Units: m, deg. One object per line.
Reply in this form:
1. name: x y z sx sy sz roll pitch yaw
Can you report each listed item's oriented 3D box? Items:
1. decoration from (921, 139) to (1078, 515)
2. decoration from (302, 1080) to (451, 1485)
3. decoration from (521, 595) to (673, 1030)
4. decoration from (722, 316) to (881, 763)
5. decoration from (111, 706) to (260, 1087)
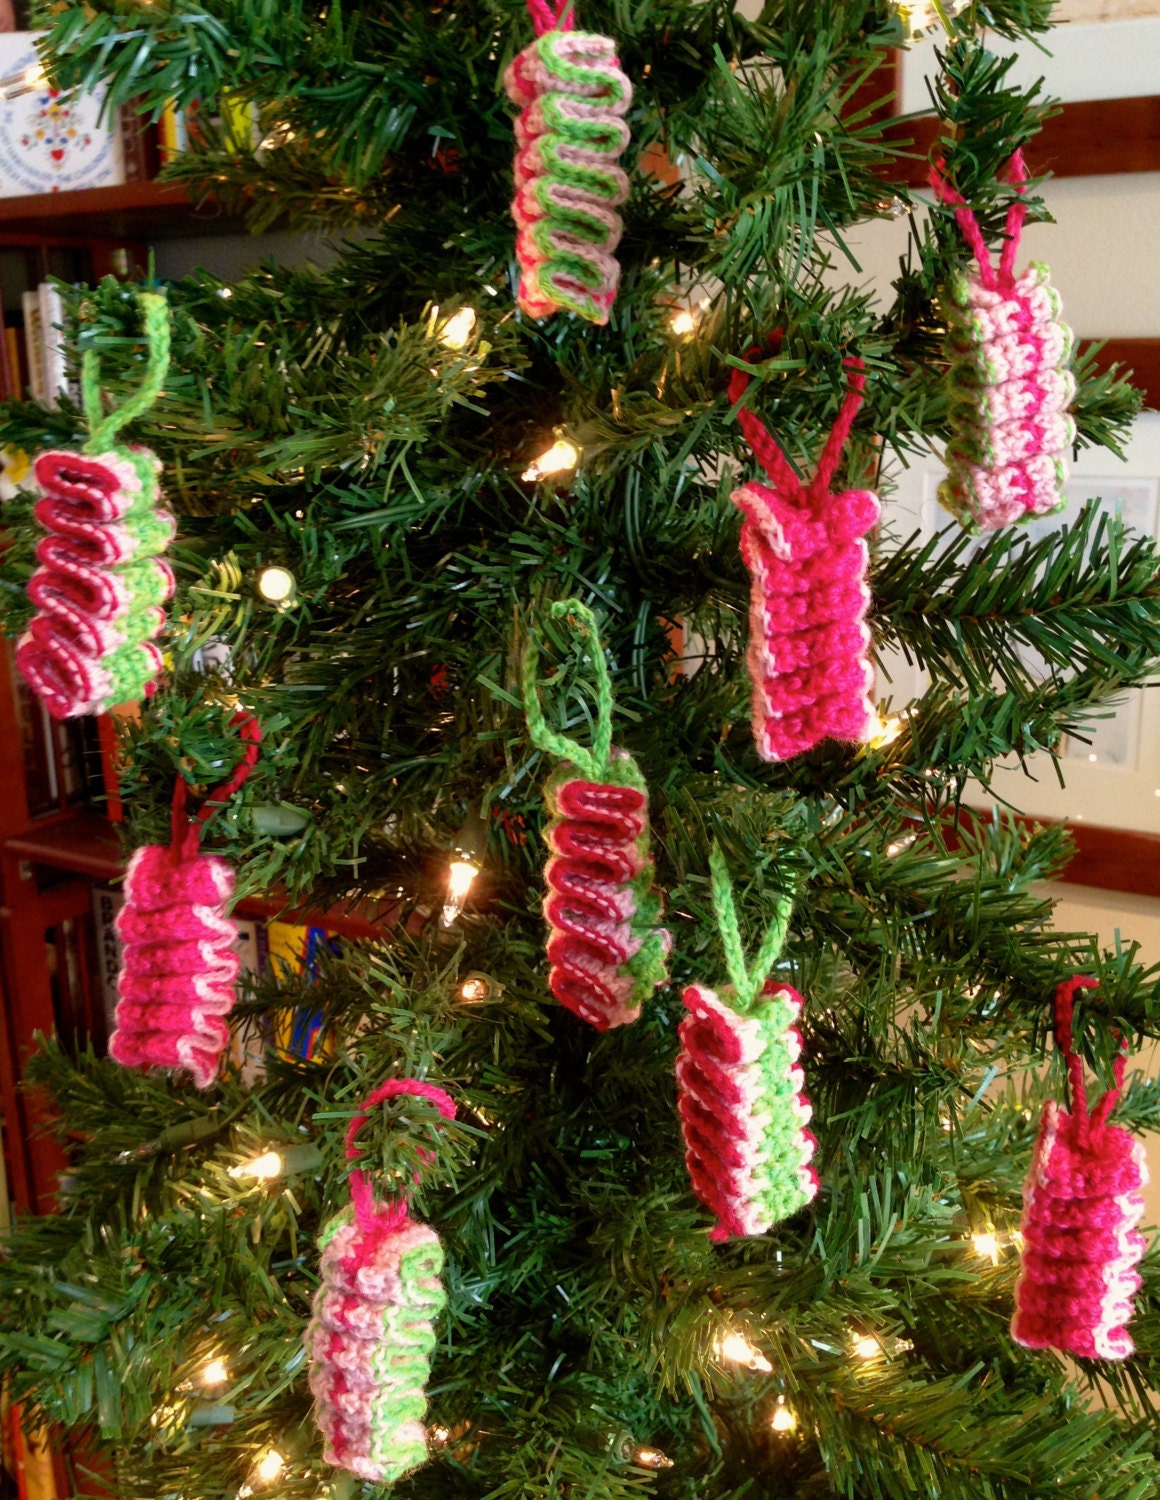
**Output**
1. decoration: 0.151 -0.143 0.476 0.047 0.127 0.077 7 9 37
2. decoration: -0.069 0.191 0.458 0.044 0.107 0.031 0 7 -10
3. decoration: 0.005 0.025 0.481 0.068 0.149 0.054 -2 20 3
4. decoration: 0.073 -0.058 0.451 0.046 0.122 0.031 2 7 4
5. decoration: -0.154 0.068 0.521 0.051 0.124 0.034 8 10 44
